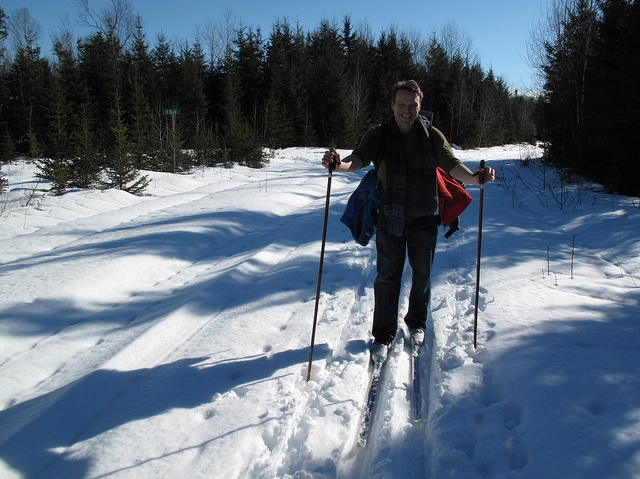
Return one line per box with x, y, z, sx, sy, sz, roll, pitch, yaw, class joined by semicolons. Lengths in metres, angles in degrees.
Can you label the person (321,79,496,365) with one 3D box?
0.827;-0.179;4.532;1.240;2.657;0.467;-7;14;-16;person
